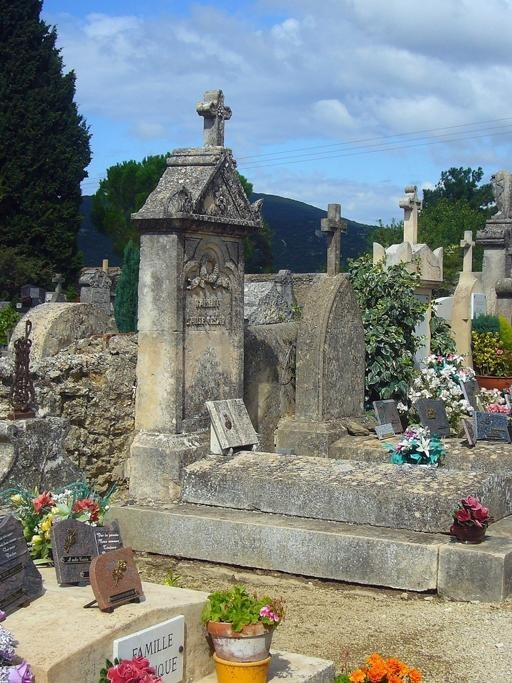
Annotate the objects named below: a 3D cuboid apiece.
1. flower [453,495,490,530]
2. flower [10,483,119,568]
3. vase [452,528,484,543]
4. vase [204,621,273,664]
[{"bbox_3d":[1.116,0.896,3.647,0.157,0.161,0.110,17,12,20],"label":"flower"},{"bbox_3d":[-0.821,0.732,2.896,0.327,0.327,0.245,-1,-8,8],"label":"flower"},{"bbox_3d":[1.128,1.019,3.710,0.102,0.055,0.119,-5,-8,37],"label":"vase"},{"bbox_3d":[-0.060,0.906,2.153,0.142,0.071,0.134,1,-6,-1],"label":"vase"}]
